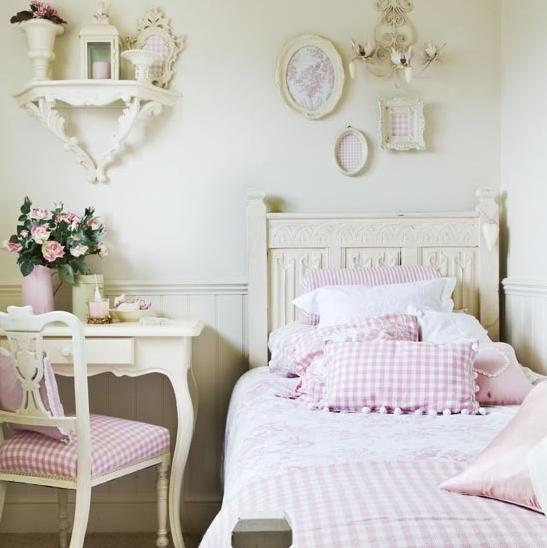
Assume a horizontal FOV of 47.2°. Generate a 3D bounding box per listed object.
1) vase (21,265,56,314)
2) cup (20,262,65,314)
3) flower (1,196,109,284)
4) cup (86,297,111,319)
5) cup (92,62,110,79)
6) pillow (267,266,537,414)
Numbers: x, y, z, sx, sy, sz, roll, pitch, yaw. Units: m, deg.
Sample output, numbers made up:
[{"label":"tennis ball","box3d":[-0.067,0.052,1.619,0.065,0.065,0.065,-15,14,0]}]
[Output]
[{"label":"vase","box3d":[-0.924,0.052,2.461,0.145,0.270,0.207,1,0,-20]},{"label":"cup","box3d":[-0.917,0.050,2.476,0.102,0.184,0.168,5,-6,-13]},{"label":"flower","box3d":[-0.878,-0.145,2.615,0.365,0.342,0.372,0,6,6]},{"label":"cup","box3d":[-0.690,0.133,2.476,0.067,0.085,0.083,0,-4,11]},{"label":"cup","box3d":[-0.729,-0.851,2.666,0.064,0.070,0.067,2,1,0]},{"label":"pillow","box3d":[0.398,0.207,2.195,0.774,0.379,0.834,-2,6,-13]}]
